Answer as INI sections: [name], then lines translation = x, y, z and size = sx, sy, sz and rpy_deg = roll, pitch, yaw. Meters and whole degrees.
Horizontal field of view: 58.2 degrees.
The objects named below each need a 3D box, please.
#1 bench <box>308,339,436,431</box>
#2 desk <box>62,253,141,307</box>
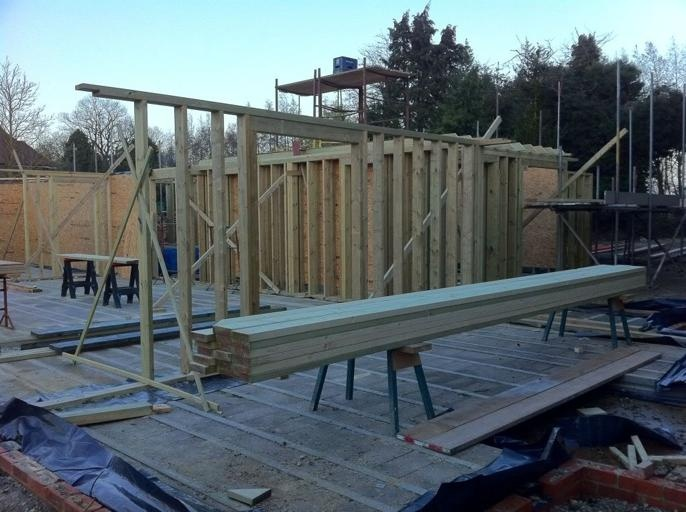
[bench]
translation = 0.229, 1.103, 5.492
size = 0.474, 0.616, 1.215
rpy_deg = -6, 0, -40
[desk]
translation = -4.282, 0.412, 10.765
size = 1.651, 0.711, 0.568
rpy_deg = 4, 5, 32
